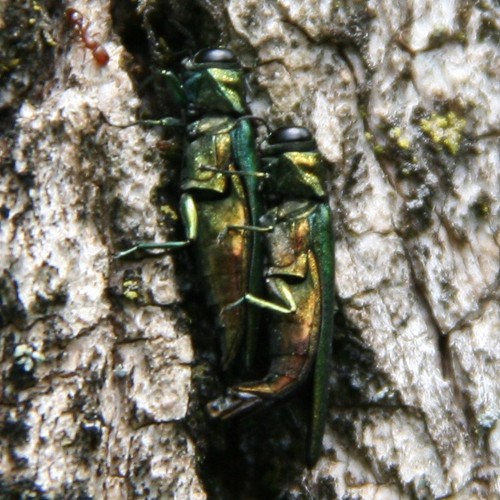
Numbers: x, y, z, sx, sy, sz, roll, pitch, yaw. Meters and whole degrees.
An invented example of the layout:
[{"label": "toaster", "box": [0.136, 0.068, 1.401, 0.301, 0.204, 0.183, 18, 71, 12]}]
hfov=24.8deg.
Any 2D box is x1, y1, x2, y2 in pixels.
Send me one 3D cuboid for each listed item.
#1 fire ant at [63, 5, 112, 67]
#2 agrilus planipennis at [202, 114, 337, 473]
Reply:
[{"label": "fire ant", "box": [-0.496, -0.649, 3.446, 0.049, 0.053, 0.196, -36, 80, -8]}, {"label": "agrilus planipennis", "box": [0.093, 0.128, 3.422, 0.325, 0.348, 1.036, 7, 87, 1]}]
